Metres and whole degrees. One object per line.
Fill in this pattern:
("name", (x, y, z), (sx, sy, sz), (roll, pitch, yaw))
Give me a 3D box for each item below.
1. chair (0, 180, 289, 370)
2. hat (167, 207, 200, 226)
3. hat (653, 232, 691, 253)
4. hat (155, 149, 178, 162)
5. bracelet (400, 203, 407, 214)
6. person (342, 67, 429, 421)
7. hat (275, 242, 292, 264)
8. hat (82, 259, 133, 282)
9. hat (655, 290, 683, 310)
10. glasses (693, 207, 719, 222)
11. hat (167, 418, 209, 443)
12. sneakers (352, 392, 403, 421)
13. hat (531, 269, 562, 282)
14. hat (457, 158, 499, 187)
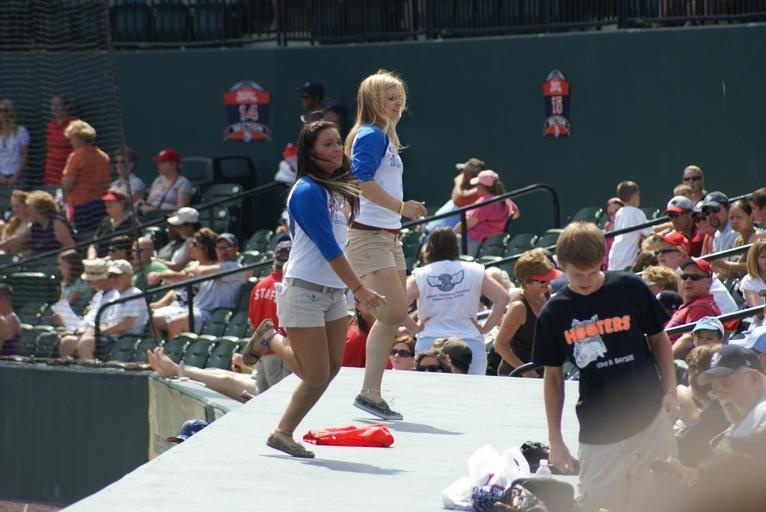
("chair", (-3.323, 0.464, 26.979), (3.566, 1.333, 1.866), (-21, 23, -16))
("hat", (-3.249, -0.651, 28.951), (0.427, 0.217, 0.279), (-4, 6, -8))
("hat", (4.092, -0.240, 25.240), (0.475, 0.265, 0.289), (18, -4, -22))
("hat", (-3.759, -1.755, 30.943), (0.399, 0.230, 0.302), (2, 5, -2))
("bracelet", (0.228, -0.603, 21.869), (0.040, 0.117, 0.102), (13, -17, -11))
("person", (-0.035, -0.103, 21.951), (0.834, 4.330, 0.789), (-1, 6, -3))
("hat", (-1.374, -0.084, 24.361), (0.230, 0.334, 0.328), (4, -23, -6))
("hat", (-4.087, 0.186, 26.427), (0.492, 0.219, 0.344), (-4, 5, -36))
("hat", (3.757, 0.593, 23.507), (0.356, 0.290, 0.286), (-1, 6, -4))
("glasses", (4.639, -0.609, 25.677), (0.177, 0.158, 0.294), (0, 7, 44))
("hat", (-2.509, 2.270, 23.039), (0.540, 0.274, 0.341), (2, -8, -4))
("sneakers", (-0.084, 1.894, 22.175), (0.663, 0.246, 0.245), (26, 2, -16))
("hat", (2.175, 0.288, 23.533), (0.408, 0.196, 0.258), (10, 3, 38))
("hat", (1.540, -1.330, 28.799), (0.412, 0.244, 0.655), (-7, 30, -43))
